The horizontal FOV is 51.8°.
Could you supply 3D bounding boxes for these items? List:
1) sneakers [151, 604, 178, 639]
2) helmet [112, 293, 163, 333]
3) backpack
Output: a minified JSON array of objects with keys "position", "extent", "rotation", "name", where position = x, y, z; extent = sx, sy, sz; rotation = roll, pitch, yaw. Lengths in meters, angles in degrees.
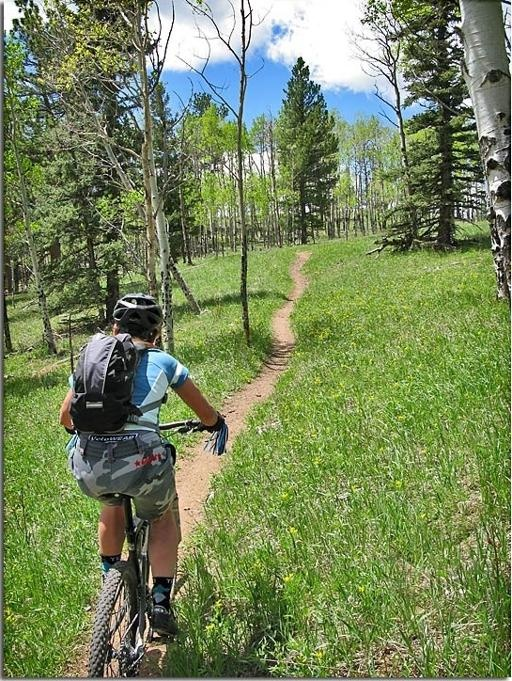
[{"position":[-0.550,1.788,3.371],"extent":[0.104,0.159,0.322],"rotation":[-3,-28,4],"name":"sneakers"},{"position":[-0.781,-0.178,3.699],"extent":[0.296,0.258,0.414],"rotation":[-9,-3,5],"name":"helmet"},{"position":[-0.723,0.291,3.264],"extent":[0.422,0.605,0.589],"rotation":[-6,-17,23],"name":"backpack"}]
